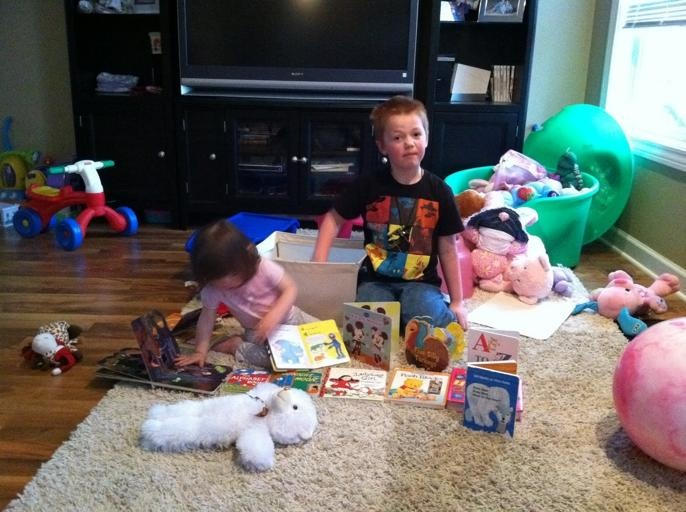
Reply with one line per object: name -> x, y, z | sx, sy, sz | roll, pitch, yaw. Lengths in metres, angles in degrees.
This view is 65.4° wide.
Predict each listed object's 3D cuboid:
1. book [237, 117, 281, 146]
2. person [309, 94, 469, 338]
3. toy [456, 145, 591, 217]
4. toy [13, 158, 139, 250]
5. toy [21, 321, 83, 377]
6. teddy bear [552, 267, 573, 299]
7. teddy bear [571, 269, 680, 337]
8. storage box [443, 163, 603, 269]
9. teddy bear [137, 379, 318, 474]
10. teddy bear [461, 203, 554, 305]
book -> -0.513, -0.782, 3.265 | 0.276, 0.145, 0.026 | 0, 21, 3
person -> 0.195, -0.165, 2.022 | 0.590, 0.853, 0.661 | -17, 25, -40
toy -> 0.944, -0.345, 2.815 | 0.578, 0.241, 0.434 | -24, 15, -15
toy -> -1.656, -0.345, 3.216 | 0.673, 0.492, 0.481 | 10, 16, 24
toy -> -1.025, 0.322, 1.868 | 0.167, 0.083, 0.214 | 4, 28, -11
teddy bear -> 1.034, 0.122, 2.508 | 0.113, 0.052, 0.142 | -11, 49, 19
teddy bear -> 1.205, 0.169, 2.231 | 0.374, 0.143, 0.306 | -20, 19, -5
storage box -> 0.953, -0.155, 2.932 | 0.725, 0.458, 0.618 | -6, 31, 6
teddy bear -> -0.323, 0.478, 1.506 | 0.322, 0.119, 0.259 | 5, 18, -9
teddy bear -> 0.766, 0.034, 2.564 | 0.381, 0.508, 0.226 | -12, -8, 0
